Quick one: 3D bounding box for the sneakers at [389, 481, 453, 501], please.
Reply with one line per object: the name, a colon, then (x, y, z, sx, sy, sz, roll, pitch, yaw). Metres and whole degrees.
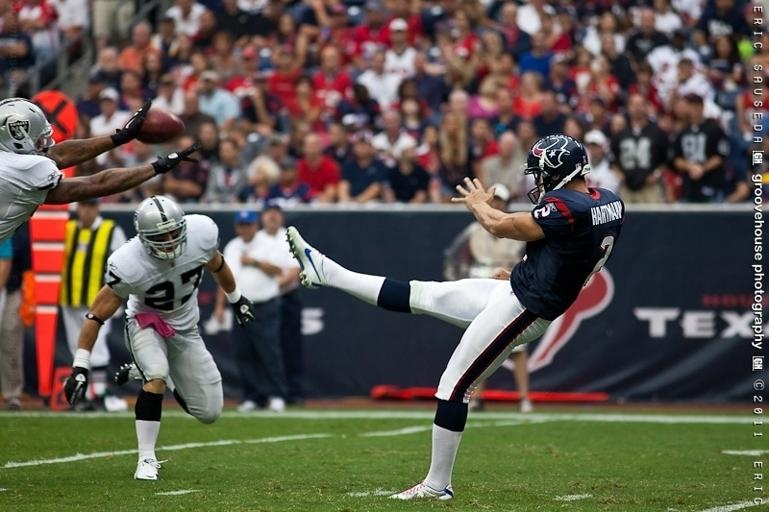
sneakers: (0.311, 2.034, 9.742, 0.570, 0.188, 0.187, 3, -21, -2)

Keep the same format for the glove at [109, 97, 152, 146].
glove: (-2.334, -1.275, 10.654, 0.218, 0.192, 0.589, 27, 44, 19)

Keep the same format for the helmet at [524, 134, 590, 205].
helmet: (1.515, -0.822, 10.156, 0.619, 0.559, 0.484, -2, 4, 12)

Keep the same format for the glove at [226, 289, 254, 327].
glove: (-1.345, 0.496, 10.841, 0.215, 0.383, 0.156, -42, -26, 20)

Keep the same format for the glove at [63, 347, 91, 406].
glove: (-2.756, 1.100, 10.303, 0.227, 0.570, 0.497, -2, 10, -15)

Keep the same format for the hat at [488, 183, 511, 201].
hat: (1.359, -0.749, 13.761, 0.328, 0.168, 0.516, 11, 6, 7)

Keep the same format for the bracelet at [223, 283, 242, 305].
bracelet: (-1.446, 0.378, 10.883, 0.181, 0.143, 0.146, -27, 7, 38)

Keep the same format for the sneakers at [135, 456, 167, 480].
sneakers: (-2.114, 1.889, 10.214, 0.225, 0.164, 0.249, -2, 10, -11)

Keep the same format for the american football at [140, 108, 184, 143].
american football: (-2.107, -1.224, 10.802, 0.416, 0.240, 0.262, -7, 7, -29)
